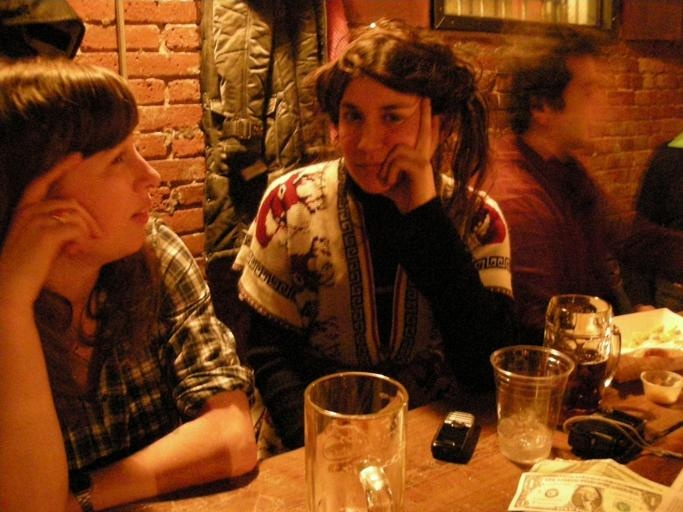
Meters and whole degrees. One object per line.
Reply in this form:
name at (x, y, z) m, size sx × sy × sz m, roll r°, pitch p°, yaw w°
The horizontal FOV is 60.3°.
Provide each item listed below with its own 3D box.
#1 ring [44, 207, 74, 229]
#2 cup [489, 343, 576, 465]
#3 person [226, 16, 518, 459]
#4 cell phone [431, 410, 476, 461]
ring at (-0.529, -0.074, 1.088) m, size 0.036 × 0.030 × 0.014 m, roll 5°, pitch 24°, yaw 3°
cup at (0.342, 0.289, 1.098) m, size 0.148 × 0.183 × 0.149 m, roll 2°, pitch -4°, yaw 0°
person at (0.079, -0.034, 1.557) m, size 0.761 × 1.098 × 0.676 m, roll 3°, pitch 22°, yaw 14°
cell phone at (0.212, 0.331, 1.090) m, size 0.059 × 0.040 × 0.121 m, roll 4°, pitch 20°, yaw 31°
